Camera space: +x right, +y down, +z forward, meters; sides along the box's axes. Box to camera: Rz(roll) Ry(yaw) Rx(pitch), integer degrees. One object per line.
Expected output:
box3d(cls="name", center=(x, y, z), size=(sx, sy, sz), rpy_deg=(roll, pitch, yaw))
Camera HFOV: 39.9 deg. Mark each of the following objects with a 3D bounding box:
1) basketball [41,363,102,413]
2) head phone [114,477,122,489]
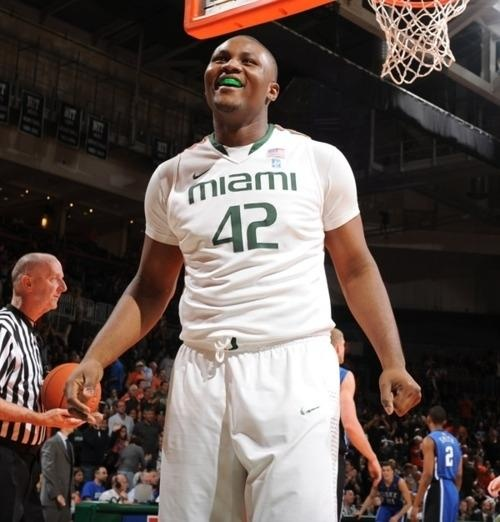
box3d(cls="basketball", center=(-0.878, 0.622, 3.407), size=(0.198, 0.237, 0.190), rpy_deg=(-9, 7, -11))
box3d(cls="head phone", center=(-1.484, 2.486, 7.760), size=(0.068, 0.095, 0.093), rpy_deg=(-7, -32, -14))
